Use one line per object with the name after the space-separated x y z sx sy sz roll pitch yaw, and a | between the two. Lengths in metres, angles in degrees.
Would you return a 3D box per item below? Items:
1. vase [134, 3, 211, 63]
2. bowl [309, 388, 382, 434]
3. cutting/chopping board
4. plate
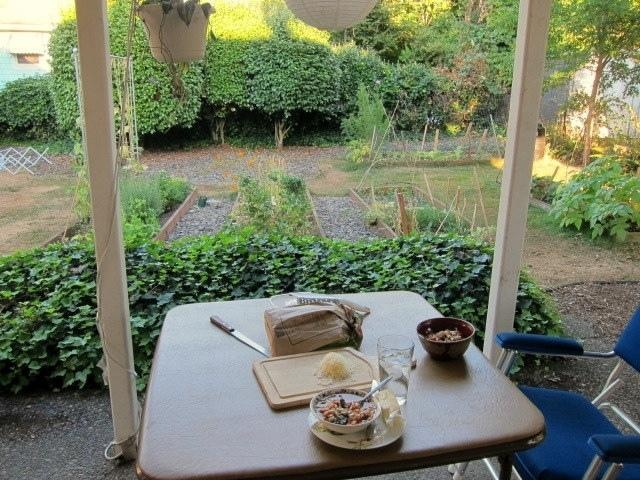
-0.623 -0.812 1.965 0.267 0.248 0.257 -4 15 -33 | vase
0.051 0.544 1.461 0.186 0.055 0.193 -13 7 2 | bowl
-0.011 0.468 1.629 0.430 0.045 0.235 -2 22 -22 | cutting/chopping board
0.123 0.553 1.424 0.298 0.089 0.147 -4 20 -13 | plate
